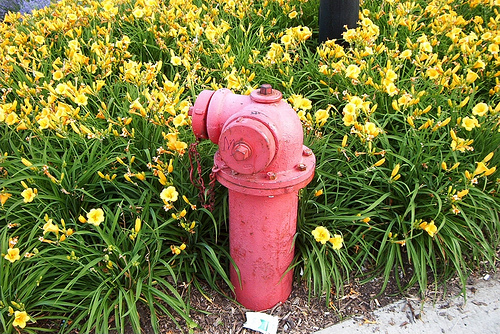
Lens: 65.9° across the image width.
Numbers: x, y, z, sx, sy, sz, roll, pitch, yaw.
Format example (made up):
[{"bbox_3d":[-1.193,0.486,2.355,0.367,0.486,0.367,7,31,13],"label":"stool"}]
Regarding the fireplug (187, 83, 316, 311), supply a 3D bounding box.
[{"bbox_3d":[-0.015,0.256,3.230,0.956,1.872,0.679,22,40,33],"label":"fireplug"}]
